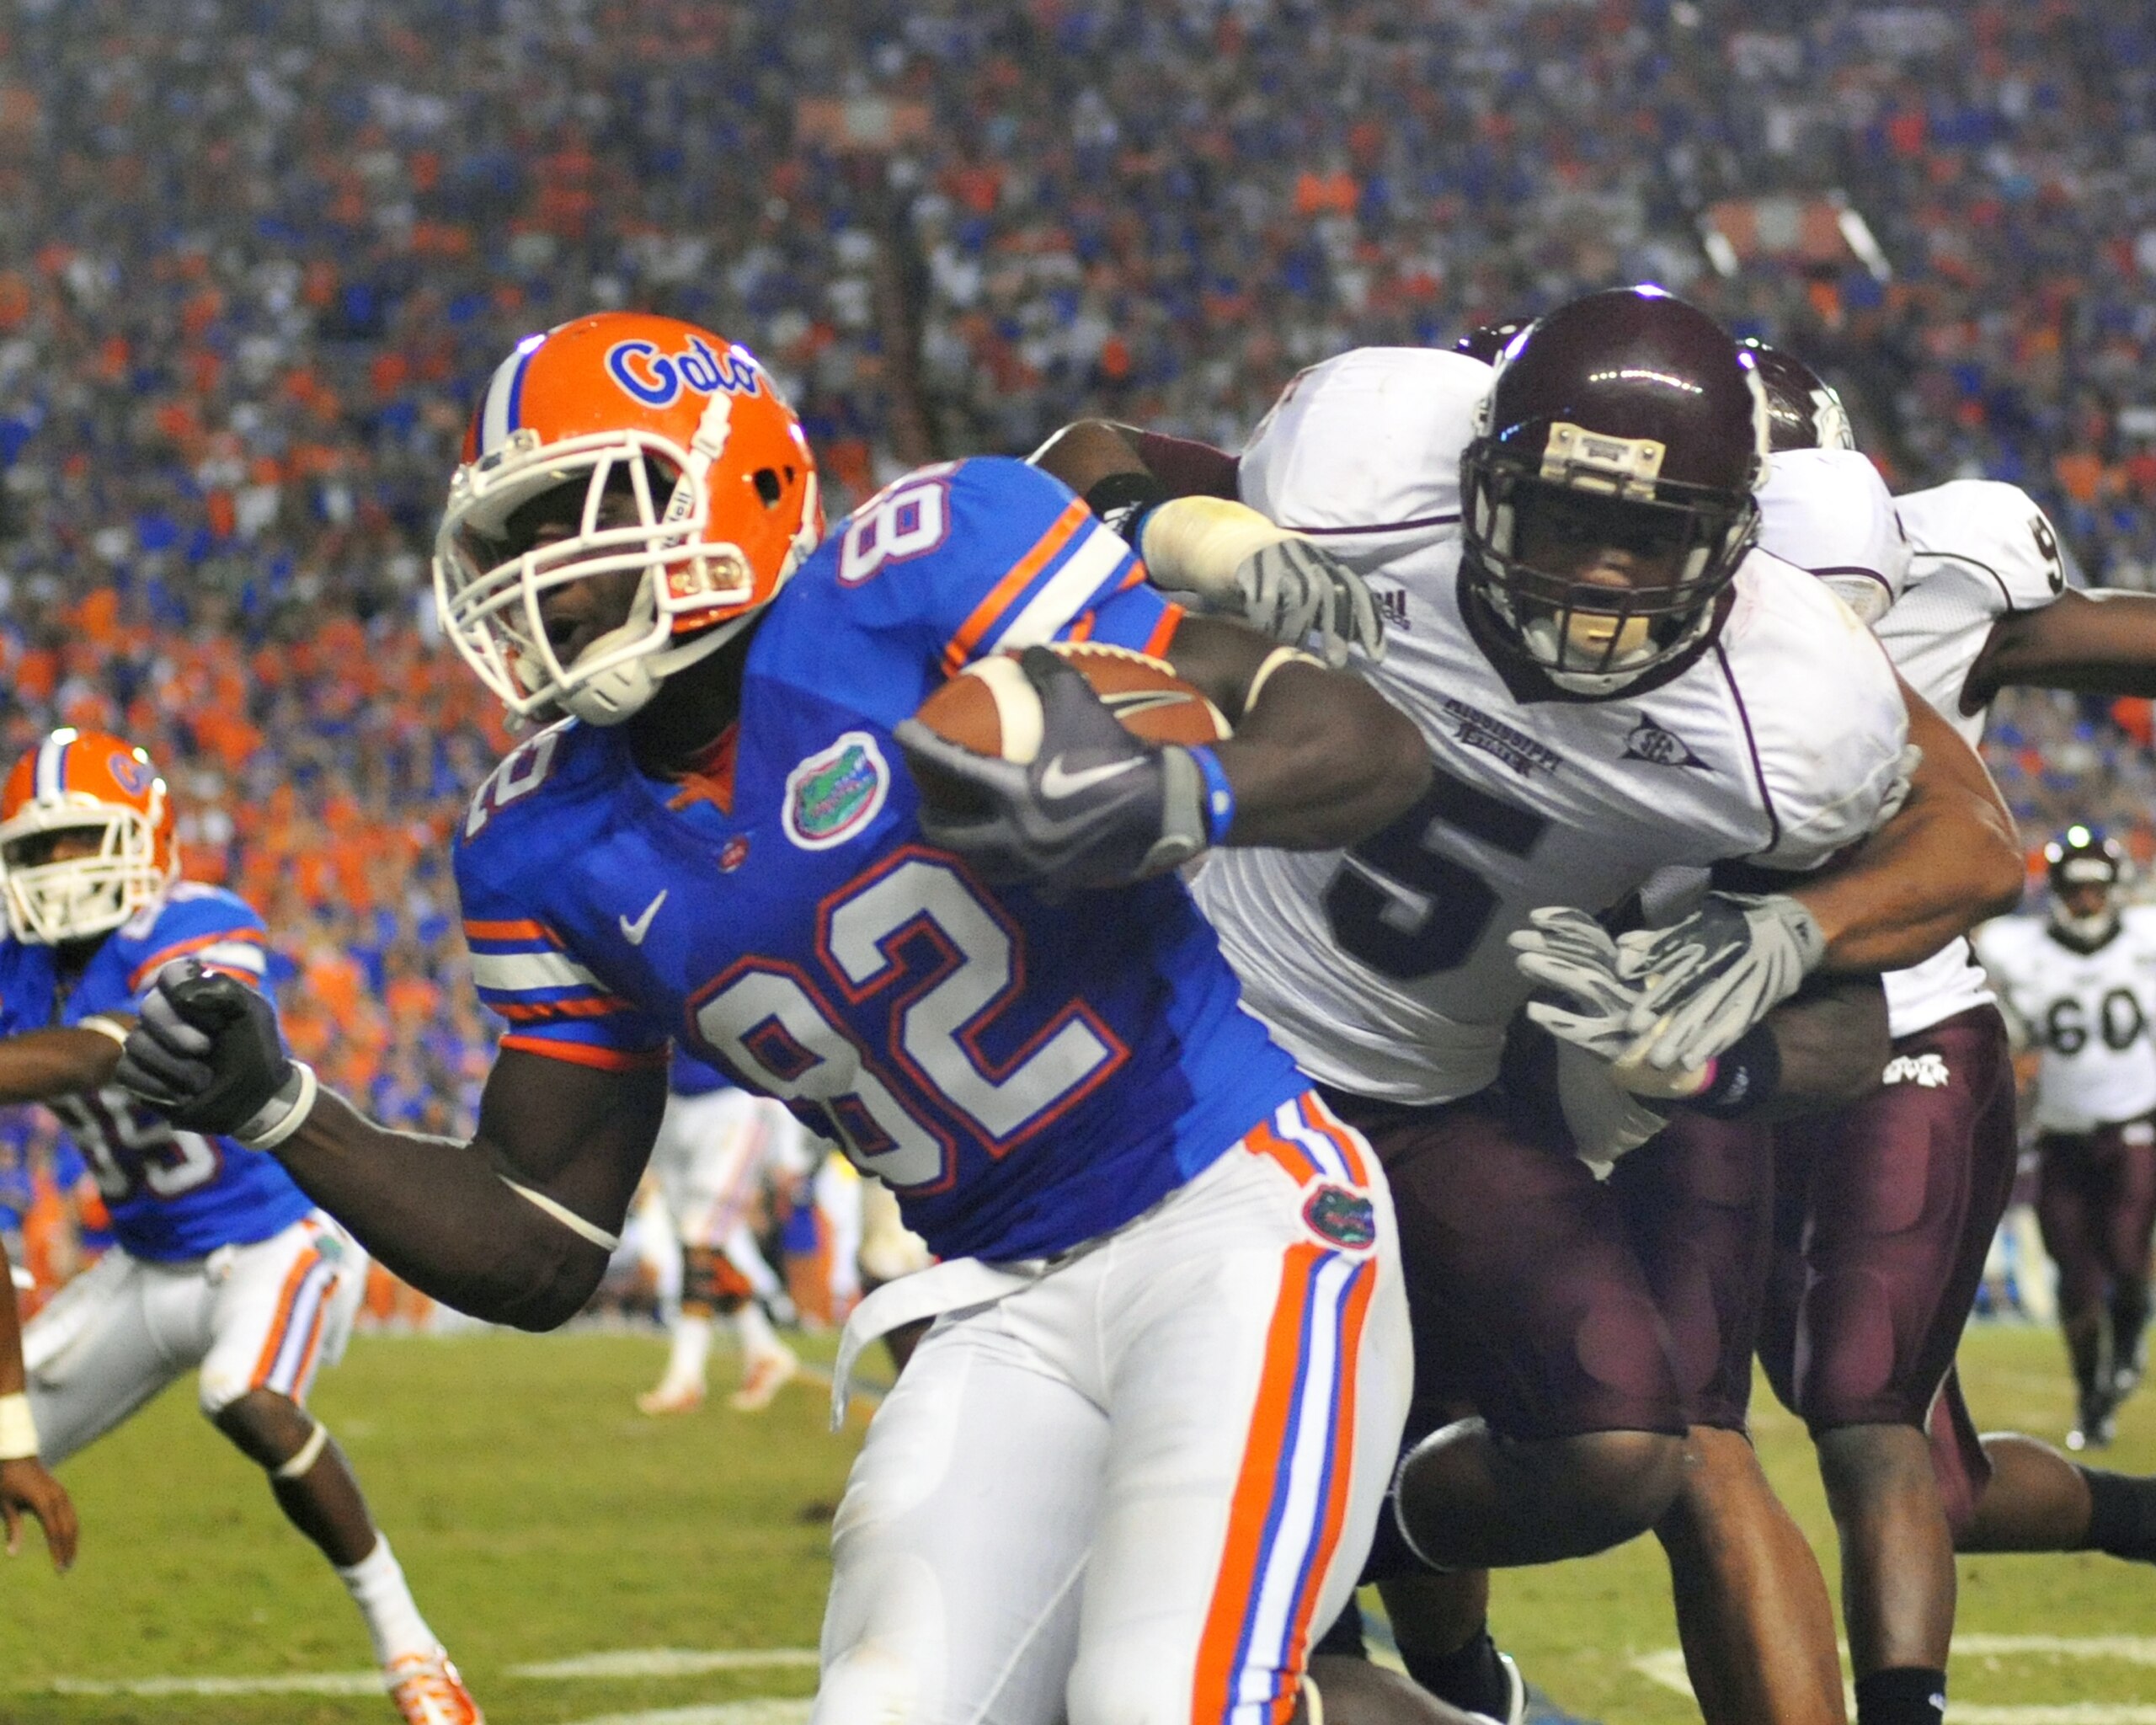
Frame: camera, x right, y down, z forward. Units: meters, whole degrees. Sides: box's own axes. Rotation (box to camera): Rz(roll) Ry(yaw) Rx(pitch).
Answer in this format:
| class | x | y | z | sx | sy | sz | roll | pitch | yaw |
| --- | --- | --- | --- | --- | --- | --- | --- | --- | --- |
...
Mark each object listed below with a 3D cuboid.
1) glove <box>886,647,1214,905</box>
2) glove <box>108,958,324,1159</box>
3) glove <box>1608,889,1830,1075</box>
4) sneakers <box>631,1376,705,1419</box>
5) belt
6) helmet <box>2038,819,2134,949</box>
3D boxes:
| class | x | y | z | sx | sy | sz | roll | pitch | yaw |
| --- | --- | --- | --- | --- | --- | --- | --- | --- | --- |
| glove | -0.044 | -0.152 | 5.303 | 0.445 | 0.239 | 0.348 | 6 | -33 | -4 |
| glove | -1.382 | 0.321 | 5.658 | 0.256 | 0.316 | 0.149 | 14 | 14 | -3 |
| glove | 1.095 | 0.194 | 6.054 | 0.347 | 0.157 | 0.246 | -27 | 21 | 2 |
| sneakers | -1.169 | 1.549 | 10.051 | 0.188 | 0.076 | 0.293 | -1 | 3 | -7 |
| belt | -0.235 | 0.780 | 5.805 | 0.434 | 0.147 | 0.373 | -8 | -21 | -32 |
| helmet | 2.946 | 0.091 | 10.230 | 0.222 | 0.365 | 0.215 | 0 | 4 | 15 |
